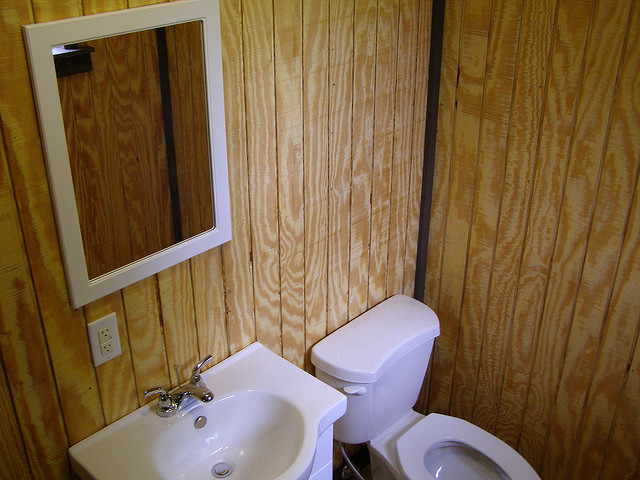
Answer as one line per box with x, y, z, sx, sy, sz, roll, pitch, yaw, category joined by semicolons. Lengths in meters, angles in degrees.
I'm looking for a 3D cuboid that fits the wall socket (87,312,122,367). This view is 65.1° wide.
-0.620;0.291;1.455;0.016;0.150;0.091;26;30;38;wall socket
